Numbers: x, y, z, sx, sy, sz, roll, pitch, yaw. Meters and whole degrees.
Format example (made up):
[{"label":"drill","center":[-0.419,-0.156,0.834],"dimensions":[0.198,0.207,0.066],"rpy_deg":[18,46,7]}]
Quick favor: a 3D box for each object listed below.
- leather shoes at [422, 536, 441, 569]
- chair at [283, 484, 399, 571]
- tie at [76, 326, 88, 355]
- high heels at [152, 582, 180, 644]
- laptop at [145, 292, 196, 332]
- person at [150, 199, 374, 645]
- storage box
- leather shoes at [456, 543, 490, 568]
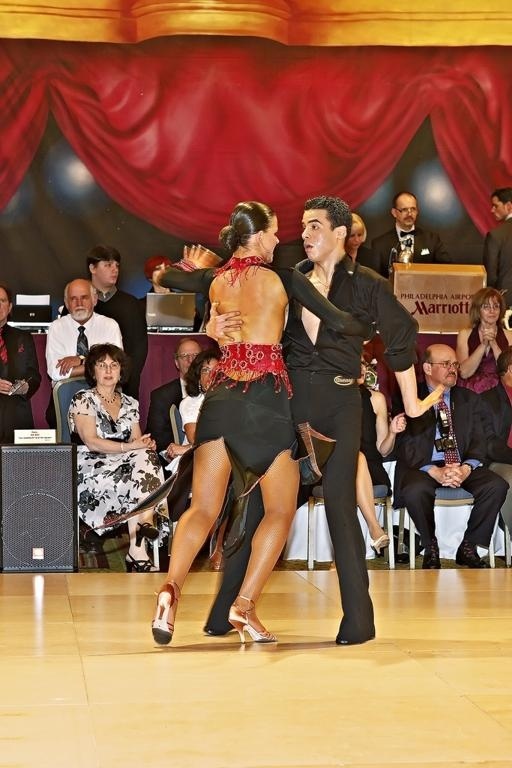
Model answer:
[{"label":"leather shoes","center":[1.245,1.190,4.284],"dimensions":[0.083,0.225,0.098],"rpy_deg":[3,-4,15]},{"label":"chair","center":[0.646,1.080,4.518],"dimensions":[0.877,0.743,0.649],"rpy_deg":[0,-12,-4]},{"label":"tie","center":[-1.499,-0.379,5.185],"dimensions":[0.095,0.277,0.162],"rpy_deg":[-1,-3,-16]},{"label":"high heels","center":[-0.291,0.719,1.916],"dimensions":[0.076,0.086,0.211],"rpy_deg":[-1,21,-2]},{"label":"laptop","center":[-0.772,-0.635,5.385],"dimensions":[0.491,0.347,0.330],"rpy_deg":[2,16,-3]},{"label":"person","center":[0.015,0.114,2.266],"dimensions":[0.767,1.469,0.538],"rpy_deg":[2,0,-3]},{"label":"storage box","center":[1.622,-0.730,5.684],"dimensions":[0.928,0.633,0.475],"rpy_deg":[0,-1,-15]},{"label":"leather shoes","center":[1.572,1.238,4.431],"dimensions":[0.151,0.178,0.292],"rpy_deg":[-1,-3,-14]}]
